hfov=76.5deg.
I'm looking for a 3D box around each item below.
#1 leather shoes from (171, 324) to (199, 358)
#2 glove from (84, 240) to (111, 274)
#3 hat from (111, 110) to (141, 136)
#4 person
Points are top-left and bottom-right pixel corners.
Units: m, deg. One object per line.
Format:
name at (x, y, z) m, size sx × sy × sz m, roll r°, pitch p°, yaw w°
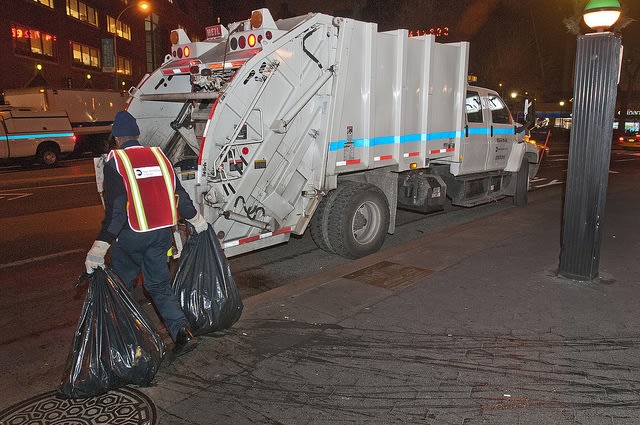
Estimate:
leather shoes at (-1.582, 1.400, 4.631) m, size 0.364 × 0.242 × 0.217 m, roll -3°, pitch 16°, yaw 44°
glove at (-2.281, 0.423, 4.130) m, size 0.164 × 0.108 × 0.264 m, roll 3°, pitch 29°, yaw -13°
hat at (-2.170, -0.985, 4.531) m, size 0.232 × 0.193 × 0.323 m, roll -1°, pitch 17°, yaw -13°
person at (-1.904, 0.246, 4.485) m, size 1.077 × 2.670 × 0.871 m, roll -1°, pitch 11°, yaw -9°
